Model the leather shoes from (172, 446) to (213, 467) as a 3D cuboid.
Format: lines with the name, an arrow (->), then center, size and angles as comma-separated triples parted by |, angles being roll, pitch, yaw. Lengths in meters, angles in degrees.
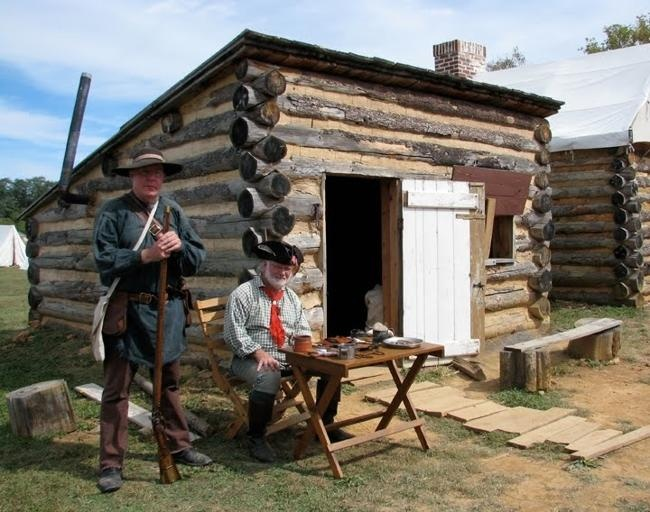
leather shoes -> -1.145, 1.756, 4.500 | 0.347, 0.089, 0.141 | 1, -1, 12

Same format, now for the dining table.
dining table -> 0.378, 1.340, 4.832 | 1.298, 1.115, 1.105 | -5, 9, -44

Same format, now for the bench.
bench -> 3.399, 1.406, 7.391 | 2.537, 0.553, 0.594 | -4, 8, -41

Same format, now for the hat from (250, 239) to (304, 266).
hat -> -0.426, -0.032, 4.769 | 0.407, 0.124, 0.359 | 11, 2, 18

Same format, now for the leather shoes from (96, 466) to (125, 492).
leather shoes -> -1.704, 1.759, 4.079 | 0.190, 0.148, 0.225 | -1, 6, -20

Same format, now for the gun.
gun -> -1.288, 0.724, 4.181 | 0.217, 2.213, 0.480 | 0, 8, -15

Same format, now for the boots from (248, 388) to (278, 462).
boots -> -0.583, 1.516, 4.683 | 0.212, 0.649, 0.275 | 0, 8, -14

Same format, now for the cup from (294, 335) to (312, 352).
cup -> -0.189, 0.775, 4.517 | 0.175, 0.090, 0.146 | 0, -5, -3
